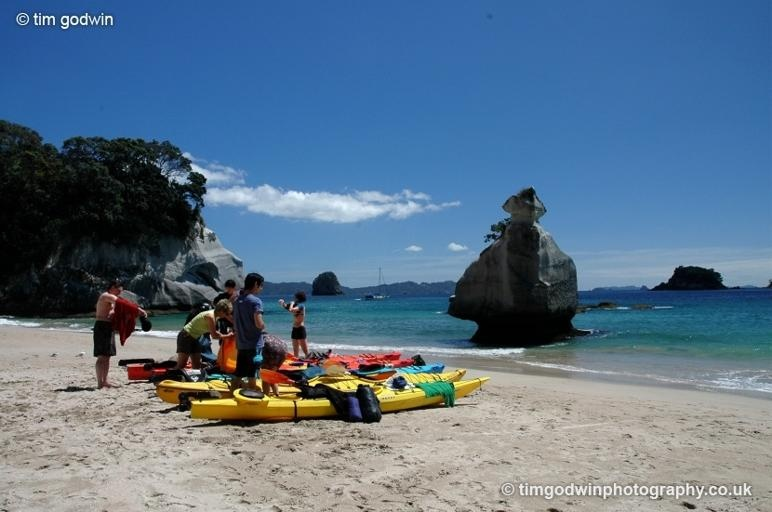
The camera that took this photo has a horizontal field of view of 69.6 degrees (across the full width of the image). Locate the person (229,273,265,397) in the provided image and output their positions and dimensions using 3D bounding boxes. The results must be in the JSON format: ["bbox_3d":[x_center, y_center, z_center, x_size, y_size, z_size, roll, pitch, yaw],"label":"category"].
[{"bbox_3d":[-2.700,1.512,10.826,0.606,2.441,0.959,2,2,-11],"label":"person"}]

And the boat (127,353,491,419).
[{"bbox_3d":[-0.869,2.906,11.740,6.194,0.762,2.076,1,-3,-21],"label":"boat"}]

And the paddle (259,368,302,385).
[{"bbox_3d":[-2.213,2.573,11.725,0.267,0.269,1.032,-20,-28,28],"label":"paddle"}]
